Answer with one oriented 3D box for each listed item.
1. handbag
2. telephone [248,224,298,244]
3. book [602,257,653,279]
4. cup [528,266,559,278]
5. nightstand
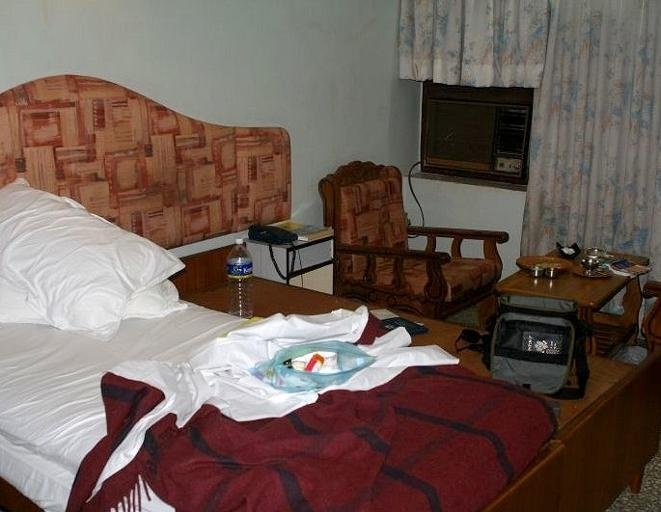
[{"bbox_3d":[0.843,0.344,2.061,0.383,0.299,0.372,5,-4,24],"label":"handbag"},{"bbox_3d":[-0.367,-0.163,3.313,0.212,0.071,0.157,9,12,37],"label":"telephone"},{"bbox_3d":[1.918,0.073,3.341,0.185,0.040,0.185,-14,18,-43],"label":"book"},{"bbox_3d":[1.372,0.099,3.275,0.121,0.040,0.088,3,9,32],"label":"cup"},{"bbox_3d":[-0.248,-0.052,3.600,0.473,0.612,0.683,15,22,34],"label":"nightstand"}]
